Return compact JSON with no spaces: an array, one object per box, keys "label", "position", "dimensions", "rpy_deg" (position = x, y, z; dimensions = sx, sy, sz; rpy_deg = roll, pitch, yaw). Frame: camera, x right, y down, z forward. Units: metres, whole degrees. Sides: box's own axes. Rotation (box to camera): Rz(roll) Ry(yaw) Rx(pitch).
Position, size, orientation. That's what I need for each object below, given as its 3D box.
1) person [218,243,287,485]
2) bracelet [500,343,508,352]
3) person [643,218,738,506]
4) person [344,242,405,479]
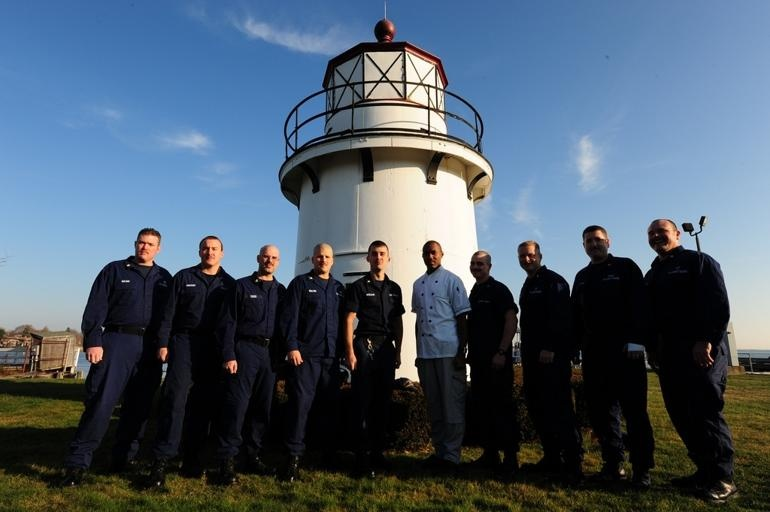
[{"label":"person","position":[-2.191,1.670,8.289],"dimensions":[1.040,3.723,0.699],"rpy_deg":[3,-5,-27]},{"label":"bracelet","position":[1.976,1.526,8.368],"dimensions":[0.096,0.118,0.097],"rpy_deg":[15,-6,-29]},{"label":"person","position":[4.672,1.465,7.766],"dimensions":[1.086,4.152,0.589],"rpy_deg":[-3,-6,35]},{"label":"person","position":[-0.186,1.628,8.495],"dimensions":[1.013,3.804,0.577],"rpy_deg":[2,-5,-16]}]
